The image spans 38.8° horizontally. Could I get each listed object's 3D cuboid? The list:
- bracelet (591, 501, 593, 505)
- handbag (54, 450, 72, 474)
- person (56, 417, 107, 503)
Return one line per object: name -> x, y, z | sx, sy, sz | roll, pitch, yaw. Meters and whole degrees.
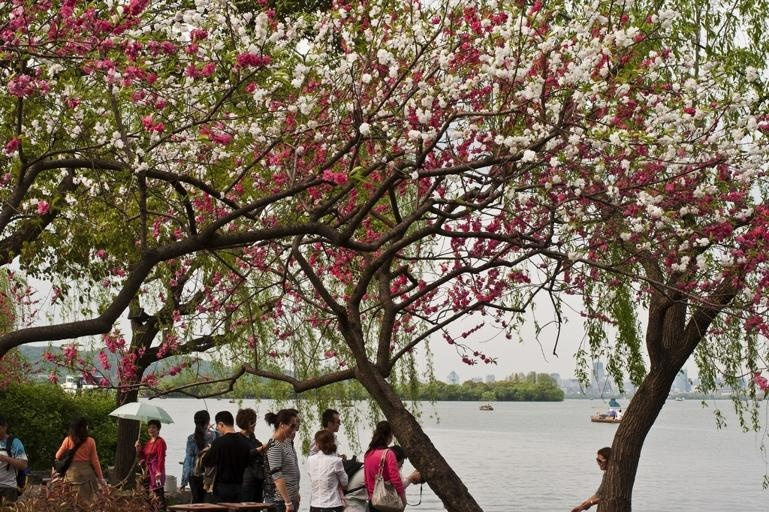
bracelet -> 3.408, 4.072, 17.807 | 0.046, 0.049, 0.047 | 2, -10, -25
handbag -> -5.092, 3.294, 17.239 | 0.164, 0.413, 0.288 | 16, -19, -22
person -> -4.854, 3.221, 17.255 | 0.699, 1.344, 0.667 | 2, -14, -18
